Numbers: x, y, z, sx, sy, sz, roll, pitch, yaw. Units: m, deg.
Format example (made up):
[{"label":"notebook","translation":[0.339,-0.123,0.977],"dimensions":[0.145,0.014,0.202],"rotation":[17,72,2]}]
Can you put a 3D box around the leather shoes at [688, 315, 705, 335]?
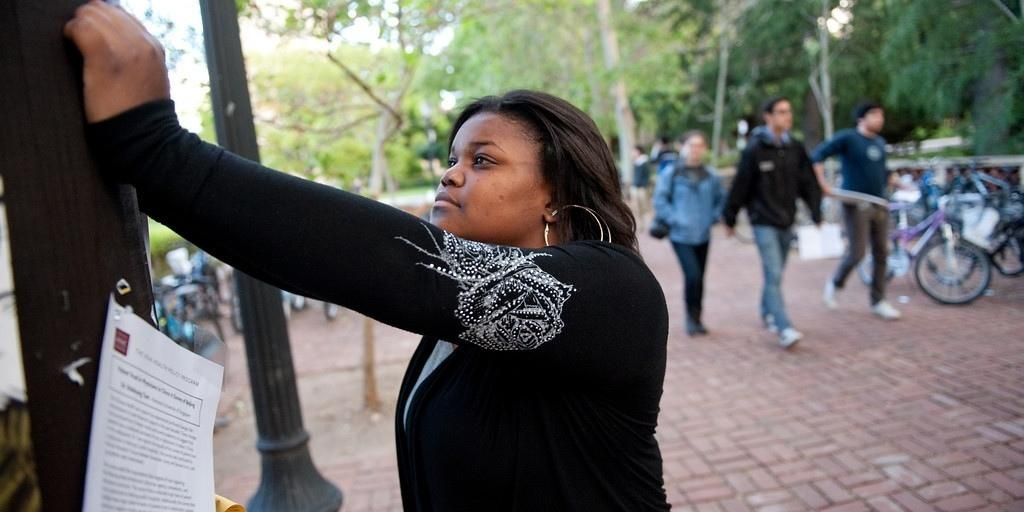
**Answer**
[{"label":"leather shoes","translation":[2.215,0.796,8.273],"dimensions":[0.251,0.222,0.196],"rotation":[-6,14,-7]}]

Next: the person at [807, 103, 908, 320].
[{"label":"person","translation":[2.025,-0.305,4.125],"dimensions":[0.439,1.179,0.296],"rotation":[0,15,16]}]

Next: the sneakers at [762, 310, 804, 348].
[{"label":"sneakers","translation":[1.630,0.438,4.203],"dimensions":[0.239,0.144,0.090],"rotation":[44,14,22]}]

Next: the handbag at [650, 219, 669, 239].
[{"label":"handbag","translation":[1.746,-0.343,8.620],"dimensions":[0.261,0.218,0.426],"rotation":[0,-6,-3]}]

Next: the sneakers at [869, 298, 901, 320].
[{"label":"sneakers","translation":[2.211,0.317,4.123],"dimensions":[0.159,0.067,0.087],"rotation":[27,70,37]}]

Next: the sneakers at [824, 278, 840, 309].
[{"label":"sneakers","translation":[1.922,0.224,4.186],"dimensions":[0.075,0.190,0.091],"rotation":[0,5,17]}]
